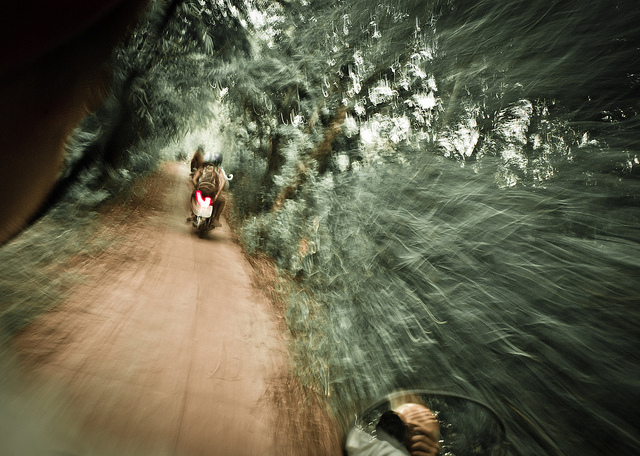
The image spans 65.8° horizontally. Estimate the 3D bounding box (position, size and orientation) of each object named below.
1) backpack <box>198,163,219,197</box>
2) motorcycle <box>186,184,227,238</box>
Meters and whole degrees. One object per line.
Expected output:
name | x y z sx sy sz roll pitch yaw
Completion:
backpack | -2.045 -0.878 9.008 0.315 0.567 0.529 6 32 -5
motorcycle | -2.072 -0.309 8.920 0.612 0.935 0.444 16 9 -16
